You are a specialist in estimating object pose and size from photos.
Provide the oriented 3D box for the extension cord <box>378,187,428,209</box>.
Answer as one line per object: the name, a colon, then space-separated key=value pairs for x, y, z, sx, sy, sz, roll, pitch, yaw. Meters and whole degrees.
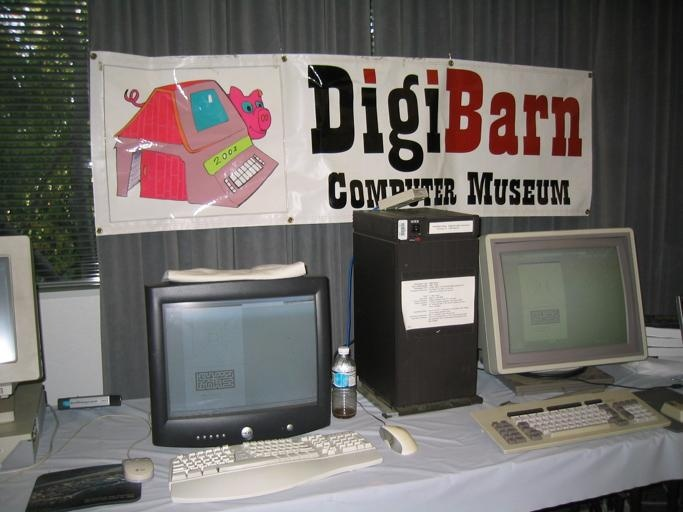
extension cord: x=0.236 y=-0.224 z=2.345 sx=0.188 sy=0.054 sz=0.127 roll=-5 pitch=2 yaw=3

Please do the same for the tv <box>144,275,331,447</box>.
tv: x=-0.385 y=0.353 z=2.272 sx=0.719 sy=0.719 sz=0.507 roll=-2 pitch=-1 yaw=-14
